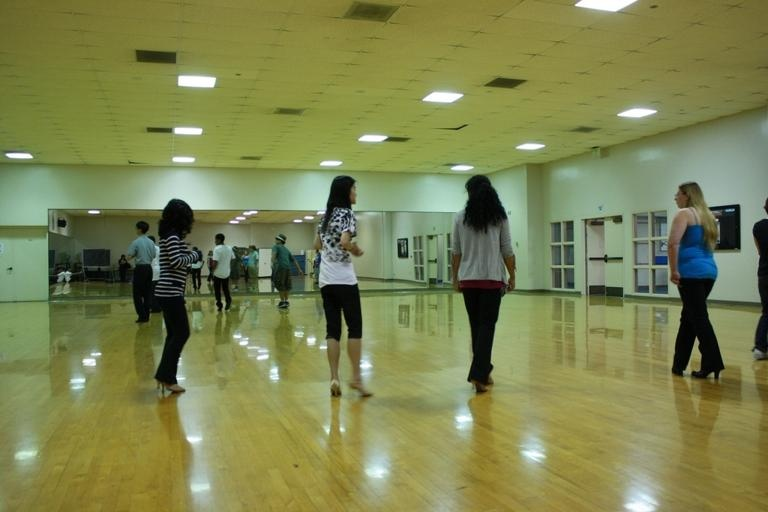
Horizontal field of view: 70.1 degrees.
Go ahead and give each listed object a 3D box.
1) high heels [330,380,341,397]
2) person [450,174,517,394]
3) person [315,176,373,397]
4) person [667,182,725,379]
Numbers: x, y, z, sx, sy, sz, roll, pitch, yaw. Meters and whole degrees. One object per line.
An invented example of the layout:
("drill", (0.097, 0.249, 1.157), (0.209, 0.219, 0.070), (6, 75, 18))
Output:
("high heels", (-0.482, 1.309, 5.405), (0.067, 0.085, 0.192), (-4, 32, -8))
("person", (0.994, 0.257, 5.503), (0.593, 2.166, 0.332), (-1, 2, 7))
("person", (-0.432, 0.263, 5.479), (0.515, 2.207, 0.602), (-1, 2, -7))
("person", (3.357, 0.238, 5.914), (0.552, 2.097, 0.541), (-1, 2, 18))
